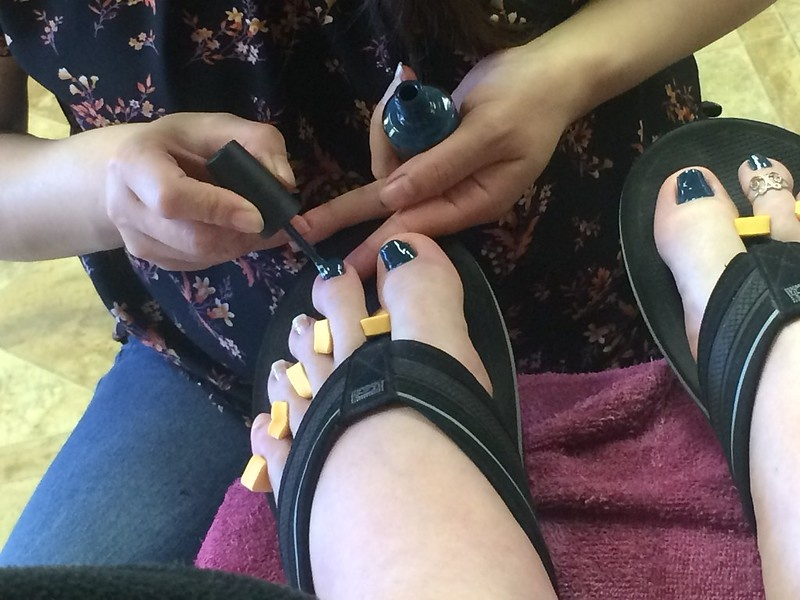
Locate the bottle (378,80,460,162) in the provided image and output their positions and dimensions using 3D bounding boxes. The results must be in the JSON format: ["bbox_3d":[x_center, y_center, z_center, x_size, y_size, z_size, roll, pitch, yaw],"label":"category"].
[{"bbox_3d":[0.021,-0.211,0.876,0.053,0.088,0.053,0,90,11],"label":"bottle"}]
